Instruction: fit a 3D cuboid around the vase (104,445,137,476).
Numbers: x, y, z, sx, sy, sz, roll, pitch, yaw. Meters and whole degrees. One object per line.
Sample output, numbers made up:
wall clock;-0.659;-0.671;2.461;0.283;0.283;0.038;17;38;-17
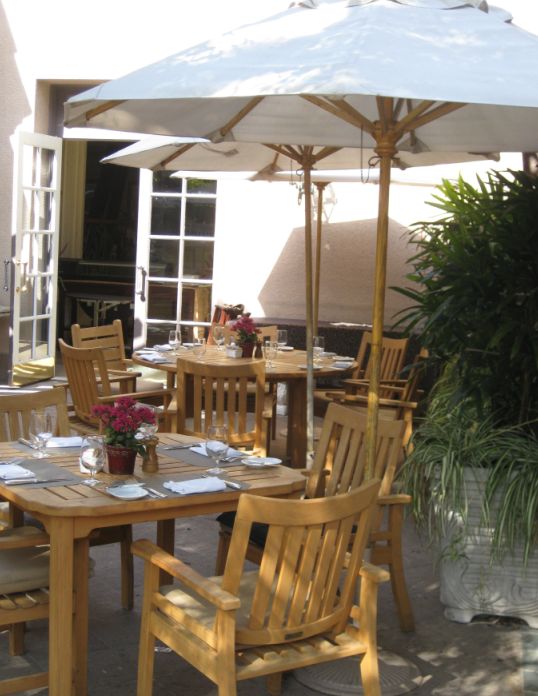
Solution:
vase;-0.457;0.348;2.076;0.096;0.066;0.091;1;-2;-3

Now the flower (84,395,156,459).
flower;-0.479;0.237;2.153;0.186;0.190;0.178;-2;11;-9

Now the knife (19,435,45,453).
knife;-0.845;0.336;2.402;0.060;0.029;0.260;24;-13;-23

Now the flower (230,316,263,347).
flower;-0.164;-0.123;4.969;0.230;0.242;0.220;-7;-1;-3

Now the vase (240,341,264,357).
vase;-0.122;0.010;4.851;0.117;0.083;0.120;0;-3;-11
